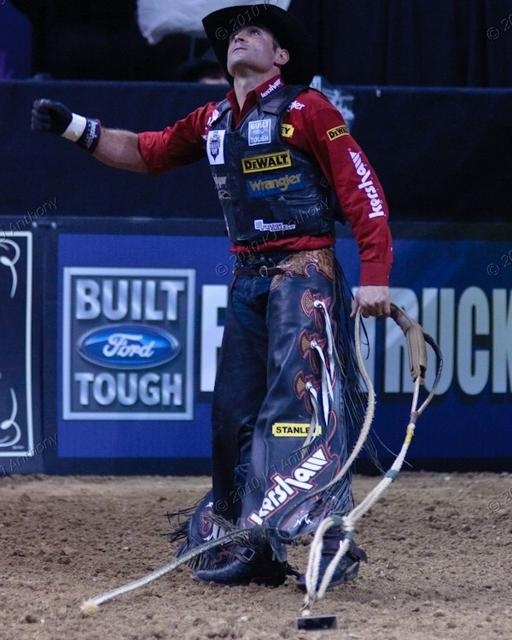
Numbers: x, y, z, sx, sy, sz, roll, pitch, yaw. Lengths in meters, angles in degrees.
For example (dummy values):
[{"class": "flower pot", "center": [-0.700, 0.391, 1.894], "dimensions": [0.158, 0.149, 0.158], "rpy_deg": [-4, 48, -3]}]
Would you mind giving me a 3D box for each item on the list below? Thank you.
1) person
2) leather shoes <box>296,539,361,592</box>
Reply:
[{"class": "person", "center": [0.029, -0.107, 5.263], "dimensions": [0.825, 2.182, 1.096], "rpy_deg": [-2, 10, -13]}, {"class": "leather shoes", "center": [0.288, 0.902, 5.005], "dimensions": [0.223, 0.092, 0.161], "rpy_deg": [-39, 28, -17]}]
